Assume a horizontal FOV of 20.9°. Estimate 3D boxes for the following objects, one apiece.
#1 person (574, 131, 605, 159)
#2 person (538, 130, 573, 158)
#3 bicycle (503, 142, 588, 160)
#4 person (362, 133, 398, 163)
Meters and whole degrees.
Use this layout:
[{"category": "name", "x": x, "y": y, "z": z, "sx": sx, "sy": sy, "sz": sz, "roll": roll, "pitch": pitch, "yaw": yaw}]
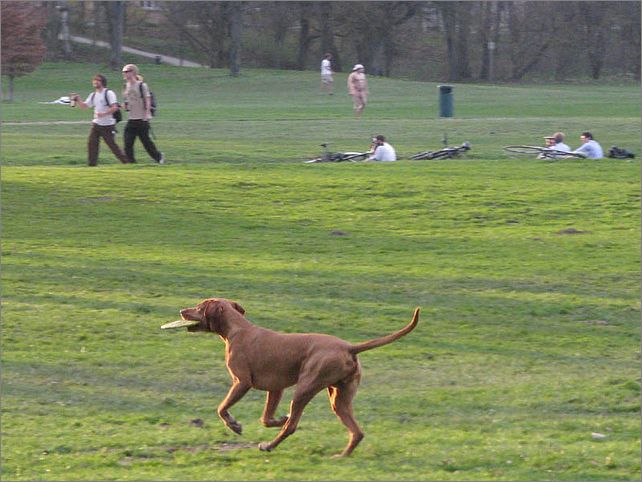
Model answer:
[{"category": "person", "x": 9.728, "y": -3.428, "z": 62.110, "sx": 1.388, "sy": 1.039, "sz": 1.004, "roll": -1, "pitch": 5, "yaw": 26}, {"category": "person", "x": 8.274, "y": -3.445, "z": 62.152, "sx": 1.164, "sy": 0.883, "sz": 1.429, "roll": 0, "pitch": 9, "yaw": 5}, {"category": "bicycle", "x": 7.906, "y": -3.201, "z": 62.149, "sx": 1.202, "sy": 0.701, "sz": 1.916, "roll": 9, "pitch": -3, "yaw": -40}, {"category": "person", "x": 2.222, "y": -3.258, "z": 61.510, "sx": 1.449, "sy": 0.971, "sz": 0.902, "roll": 3, "pitch": 5, "yaw": 11}]
